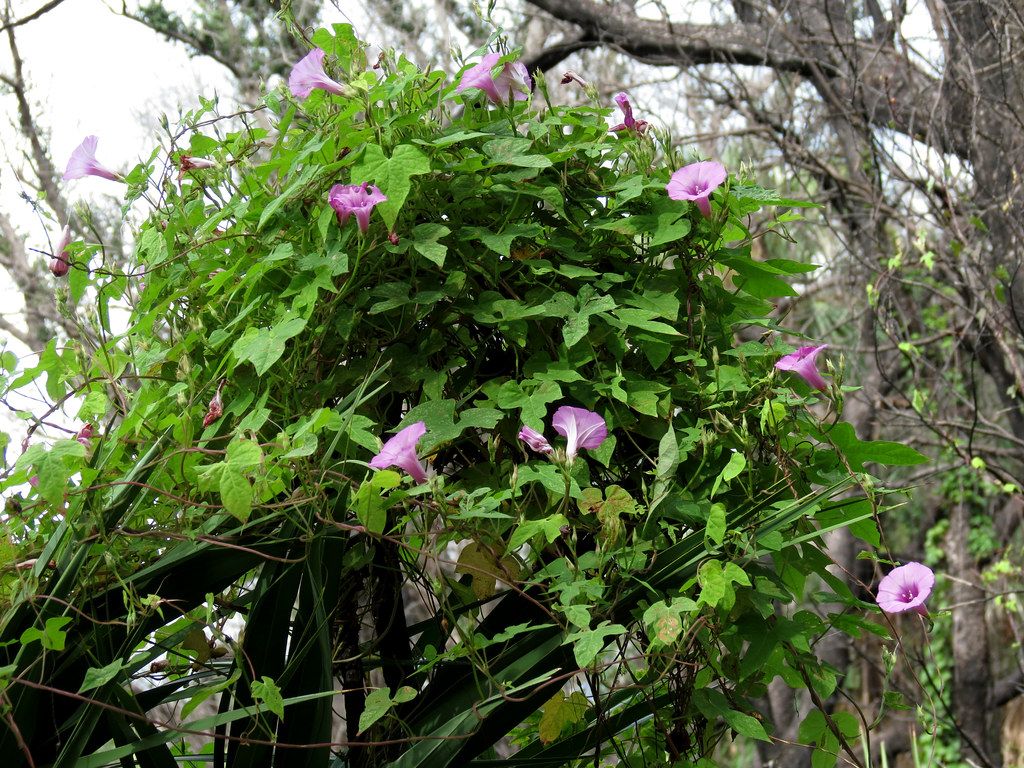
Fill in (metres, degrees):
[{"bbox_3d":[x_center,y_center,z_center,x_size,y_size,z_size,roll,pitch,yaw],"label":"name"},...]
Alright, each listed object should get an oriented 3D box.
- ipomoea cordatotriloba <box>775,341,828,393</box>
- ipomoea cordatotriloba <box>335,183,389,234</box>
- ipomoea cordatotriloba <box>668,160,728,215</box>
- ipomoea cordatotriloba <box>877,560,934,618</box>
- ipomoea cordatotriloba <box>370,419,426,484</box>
[{"bbox_3d":[0.550,-0.041,1.611,0.092,0.048,0.100,-2,-29,8],"label":"ipomoea cordatotriloba"},{"bbox_3d":[-0.264,-0.324,1.560,0.083,0.091,0.060,20,-23,15],"label":"ipomoea cordatotriloba"},{"bbox_3d":[0.356,-0.377,1.625,0.089,0.088,0.071,-37,-31,-4],"label":"ipomoea cordatotriloba"},{"bbox_3d":[0.753,0.388,1.614,0.100,0.116,0.081,-7,-21,35],"label":"ipomoea cordatotriloba"},{"bbox_3d":[-0.187,0.126,1.434,0.082,0.073,0.100,-1,-44,1],"label":"ipomoea cordatotriloba"}]
